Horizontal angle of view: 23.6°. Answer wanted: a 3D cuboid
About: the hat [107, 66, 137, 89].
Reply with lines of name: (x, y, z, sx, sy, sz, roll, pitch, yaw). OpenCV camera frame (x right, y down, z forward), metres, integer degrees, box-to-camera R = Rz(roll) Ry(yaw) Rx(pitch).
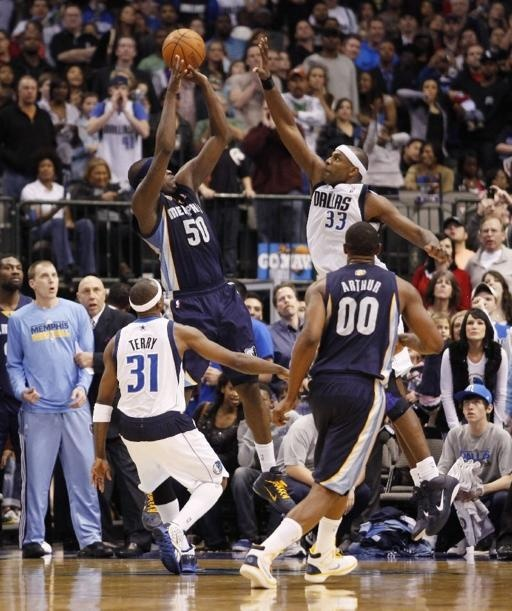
hat: (-1.657, -2.865, 15.349, 0.264, 0.151, 0.334, -1, 6, 0)

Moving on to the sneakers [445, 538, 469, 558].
sneakers: (1.620, 1.953, 9.908, 0.124, 0.127, 0.226, 1, 0, -28)

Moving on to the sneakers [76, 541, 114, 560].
sneakers: (-1.276, 1.974, 9.873, 0.307, 0.131, 0.113, 1, -21, 11)

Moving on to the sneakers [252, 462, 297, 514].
sneakers: (0.157, 1.336, 8.874, 0.232, 0.294, 0.369, 2, 0, 35)

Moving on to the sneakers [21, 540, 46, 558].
sneakers: (-1.765, 1.936, 9.724, 0.112, 0.119, 0.281, 1, -5, -13)

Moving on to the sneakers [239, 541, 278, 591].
sneakers: (-0.023, 1.621, 7.533, 0.137, 0.235, 0.337, -1, -33, 34)

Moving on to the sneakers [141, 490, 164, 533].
sneakers: (-0.789, 1.521, 8.906, 0.143, 0.230, 0.391, -5, 1, -10)

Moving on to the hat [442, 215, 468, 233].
hat: (2.171, -0.895, 13.350, 0.203, 0.139, 0.320, 1, 0, 4)

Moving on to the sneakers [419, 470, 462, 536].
sneakers: (1.253, 1.373, 8.451, 0.275, 0.379, 0.248, 1, 0, 8)

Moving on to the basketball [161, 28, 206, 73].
basketball: (-0.591, -1.921, 9.085, 0.278, 0.293, 0.282, 17, 23, 2)

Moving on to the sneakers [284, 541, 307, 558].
sneakers: (0.331, 2.021, 10.075, 0.207, 0.085, 0.152, -26, -13, -2)

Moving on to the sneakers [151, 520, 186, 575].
sneakers: (-0.534, 1.613, 8.049, 0.128, 0.383, 0.187, 7, 35, 41)

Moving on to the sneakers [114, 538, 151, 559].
sneakers: (-1.019, 2.022, 10.194, 0.099, 0.119, 0.298, -8, -12, 27)

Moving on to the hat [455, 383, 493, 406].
hat: (1.838, 0.743, 10.267, 0.279, 0.158, 0.361, 1, 0, 5)
